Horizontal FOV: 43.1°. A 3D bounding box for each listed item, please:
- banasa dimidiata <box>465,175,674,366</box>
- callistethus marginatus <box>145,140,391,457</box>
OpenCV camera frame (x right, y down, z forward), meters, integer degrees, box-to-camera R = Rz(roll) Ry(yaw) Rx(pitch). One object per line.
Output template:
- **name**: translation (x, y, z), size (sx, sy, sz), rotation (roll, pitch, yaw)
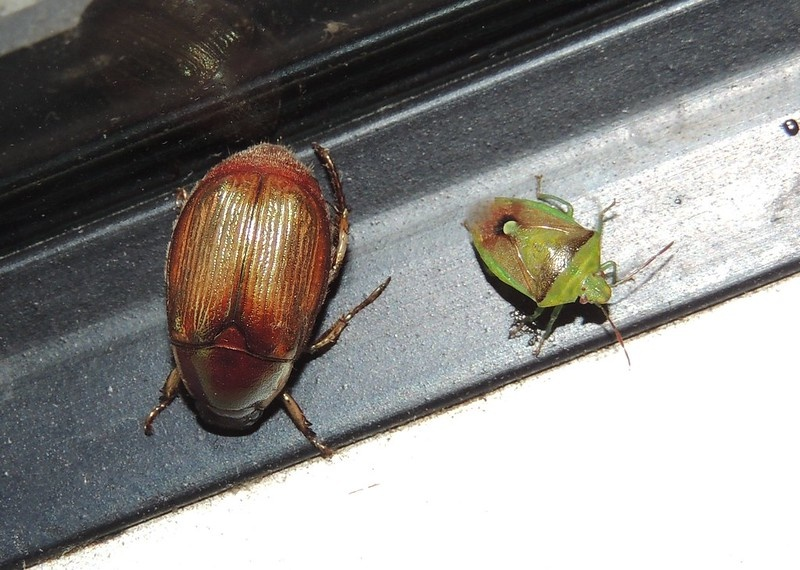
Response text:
- **banasa dimidiata**: translation (0.626, -0.103, 3.975), size (0.767, 0.226, 0.645), rotation (27, 91, 15)
- **callistethus marginatus**: translation (-0.624, 0.021, 4.030), size (1.134, 1.211, 0.375), rotation (5, -5, 1)
